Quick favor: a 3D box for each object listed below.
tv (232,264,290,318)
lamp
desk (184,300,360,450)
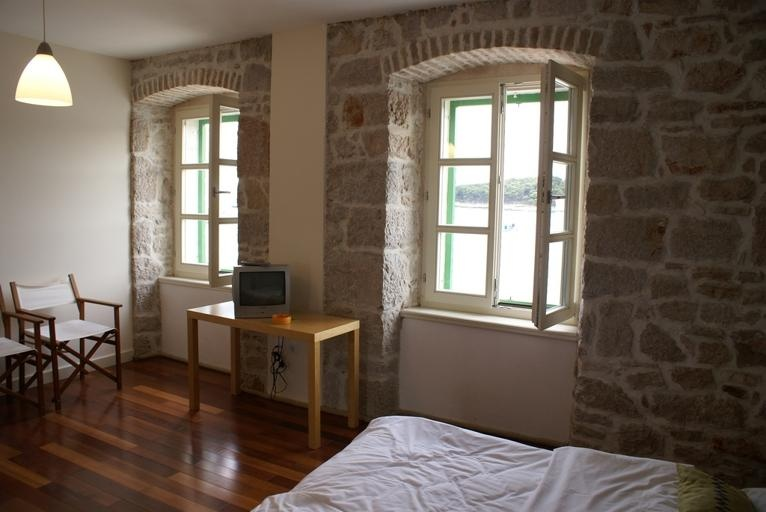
[{"bbox_3d":[-1.019,0.273,4.787,0.458,0.432,0.452,-1,1,-5],"label":"tv"},{"bbox_3d":[-2.391,-1.298,3.969,0.330,0.438,0.309,-1,5,-31],"label":"lamp"},{"bbox_3d":[-0.988,0.967,4.931,1.526,0.906,0.645,5,7,35],"label":"desk"}]
